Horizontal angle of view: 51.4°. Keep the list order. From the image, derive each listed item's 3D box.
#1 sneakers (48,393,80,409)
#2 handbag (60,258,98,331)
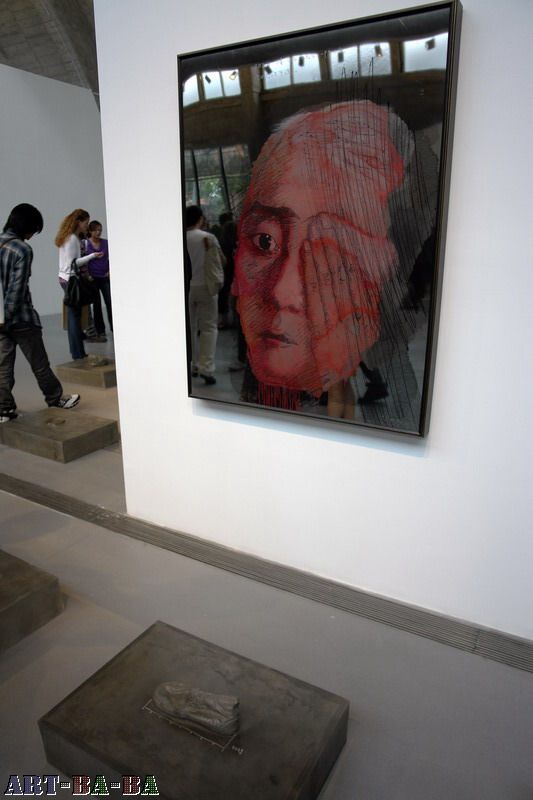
[{"bbox_3d":[-1.843,0.016,5.062,0.271,0.119,0.146,-19,-25,-15],"label":"sneakers"},{"bbox_3d":[-2.122,-1.220,6.282,0.229,0.671,0.697,1,26,-7],"label":"handbag"}]
